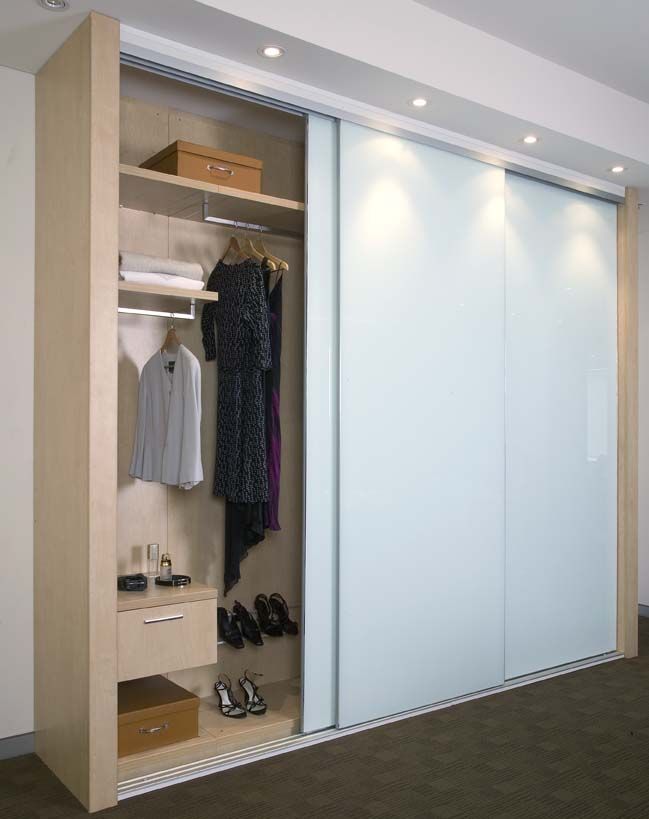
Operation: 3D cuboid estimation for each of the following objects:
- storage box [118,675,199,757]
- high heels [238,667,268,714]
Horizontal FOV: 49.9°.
[{"bbox_3d":[-0.584,1.055,2.412,0.186,0.087,0.200,2,-4,-28],"label":"storage box"},{"bbox_3d":[-0.290,1.122,2.782,0.068,0.089,0.203,1,2,-18],"label":"high heels"}]
